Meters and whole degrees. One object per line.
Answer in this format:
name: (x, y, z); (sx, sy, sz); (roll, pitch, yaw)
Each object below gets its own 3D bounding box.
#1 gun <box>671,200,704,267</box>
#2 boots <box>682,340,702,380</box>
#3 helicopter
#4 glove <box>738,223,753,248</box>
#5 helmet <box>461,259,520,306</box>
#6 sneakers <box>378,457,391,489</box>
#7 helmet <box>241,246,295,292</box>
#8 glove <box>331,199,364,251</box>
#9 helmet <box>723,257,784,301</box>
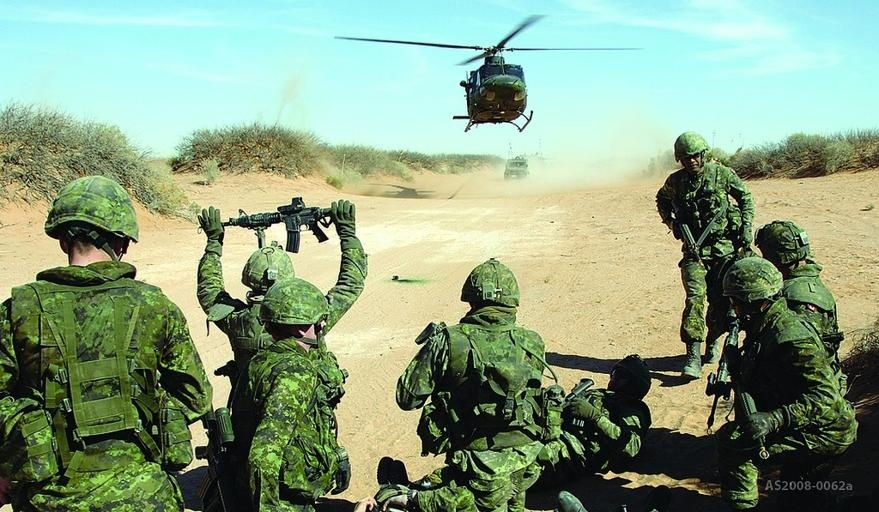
gun: (3.848, -0.354, 11.189); (0.184, 0.966, 0.404); (-18, -17, 4)
boots: (3.721, 1.549, 10.885); (0.245, 0.441, 0.695); (-5, 3, 35)
helicopter: (1.736, -4.819, 18.999); (7.477, 2.502, 7.099); (0, 0, -5)
glove: (4.620, -0.298, 11.076); (0.257, 0.317, 0.130); (0, 0, 4)
helmet: (0.590, 0.274, 8.222); (0.584, 0.440, 0.561); (0, 1, 3)
sneakers: (-0.641, 2.470, 8.354); (0.131, 0.334, 0.148); (1, -21, 7)
helmet: (-1.997, 0.102, 8.742); (0.500, 0.532, 0.638); (9, 22, 33)
glove: (-1.121, -0.361, 8.646); (0.404, 0.572, 0.237); (-15, 0, -24)
helmet: (3.591, 0.239, 8.409); (0.541, 0.405, 0.542); (8, 19, 42)
